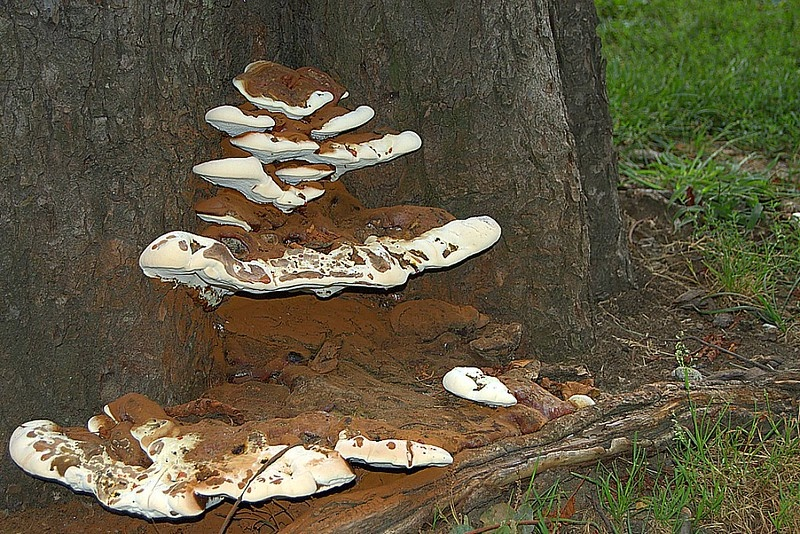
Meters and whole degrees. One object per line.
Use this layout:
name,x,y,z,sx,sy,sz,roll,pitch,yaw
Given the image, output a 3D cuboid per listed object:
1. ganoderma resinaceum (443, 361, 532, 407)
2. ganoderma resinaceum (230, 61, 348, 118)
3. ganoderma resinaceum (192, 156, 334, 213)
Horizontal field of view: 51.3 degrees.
ganoderma resinaceum,0.527,0.793,5.462,0.486,0.175,0.254,15,38,31
ganoderma resinaceum,-0.795,-1.198,5.629,0.537,0.152,0.466,17,33,18
ganoderma resinaceum,-0.904,-0.550,5.495,0.866,0.246,0.290,11,41,-19
